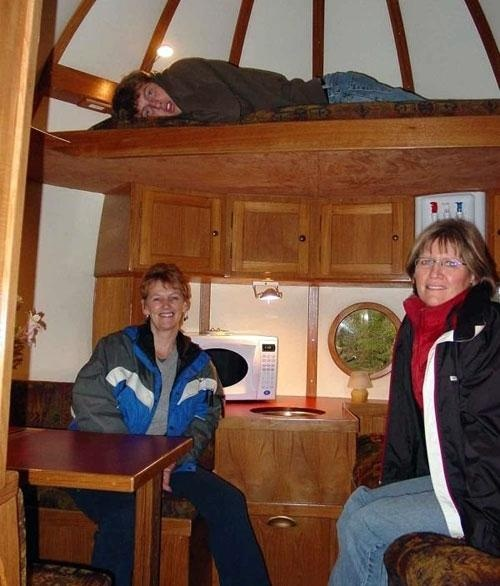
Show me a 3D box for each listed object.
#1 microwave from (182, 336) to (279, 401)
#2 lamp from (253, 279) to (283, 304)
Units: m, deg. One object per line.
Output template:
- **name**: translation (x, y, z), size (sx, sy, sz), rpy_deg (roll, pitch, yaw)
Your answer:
- **microwave**: translation (-0.092, 0.361, 2.801), size (0.563, 0.362, 0.338), rpy_deg (0, -4, 3)
- **lamp**: translation (0.099, -0.016, 3.272), size (0.180, 0.134, 0.126), rpy_deg (0, 0, -1)
